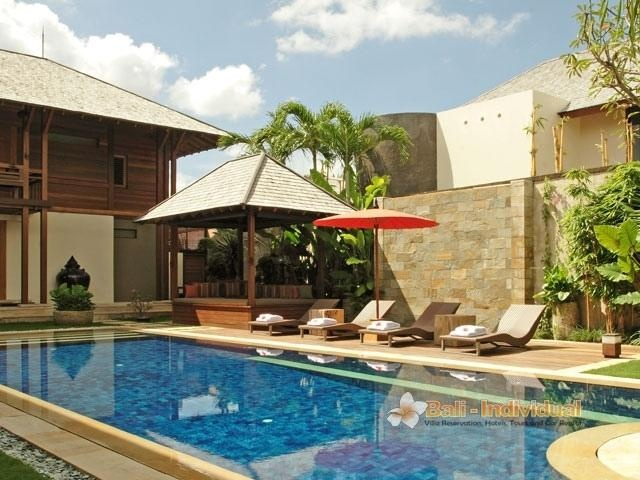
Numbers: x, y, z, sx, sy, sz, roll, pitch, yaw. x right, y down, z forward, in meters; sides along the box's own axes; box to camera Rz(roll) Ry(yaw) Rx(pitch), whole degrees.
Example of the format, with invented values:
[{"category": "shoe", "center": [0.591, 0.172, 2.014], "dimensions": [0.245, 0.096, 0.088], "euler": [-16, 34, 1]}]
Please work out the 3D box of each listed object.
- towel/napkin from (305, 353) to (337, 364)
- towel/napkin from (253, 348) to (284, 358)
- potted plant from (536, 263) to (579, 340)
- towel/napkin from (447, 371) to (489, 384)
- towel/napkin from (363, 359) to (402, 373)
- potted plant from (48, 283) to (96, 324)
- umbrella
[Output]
[{"category": "towel/napkin", "center": [0.052, 2.263, 10.294], "dimensions": [0.531, 0.037, 1.102], "euler": [-1, -1, -4]}, {"category": "towel/napkin", "center": [-1.014, 2.304, 11.110], "dimensions": [0.516, 0.038, 1.262], "euler": [-1, -1, -10]}, {"category": "potted plant", "center": [5.664, 1.464, 12.393], "dimensions": [0.951, 1.586, 0.934], "euler": [-3, -8, 15]}, {"category": "towel/napkin", "center": [2.319, 2.154, 8.542], "dimensions": [0.492, 0.018, 0.787], "euler": [-1, -1, 6]}, {"category": "towel/napkin", "center": [1.104, 2.210, 9.458], "dimensions": [0.571, 0.033, 1.030], "euler": [-1, -1, 0]}, {"category": "potted plant", "center": [-7.581, 1.966, 16.668], "dimensions": [1.388, 1.266, 1.366], "euler": [-4, -4, 18]}, {"category": "umbrella", "center": [1.433, 0.559, 13.490], "dimensions": [2.807, 2.749, 2.985], "euler": [-1, 1, 38]}]
